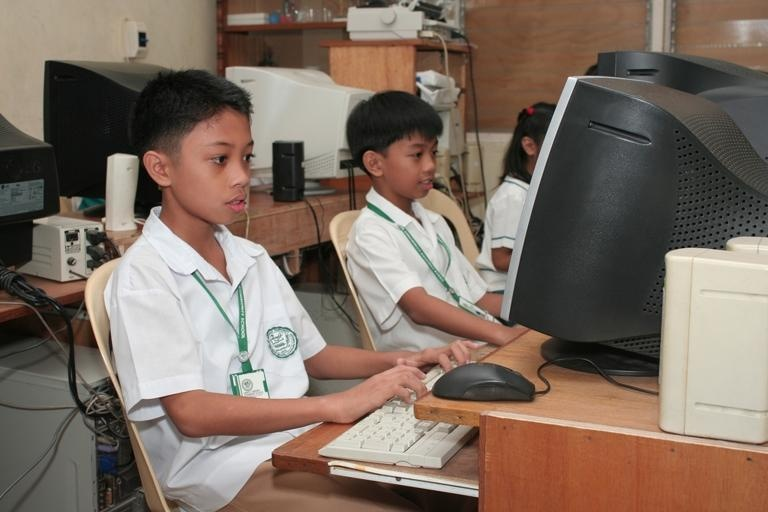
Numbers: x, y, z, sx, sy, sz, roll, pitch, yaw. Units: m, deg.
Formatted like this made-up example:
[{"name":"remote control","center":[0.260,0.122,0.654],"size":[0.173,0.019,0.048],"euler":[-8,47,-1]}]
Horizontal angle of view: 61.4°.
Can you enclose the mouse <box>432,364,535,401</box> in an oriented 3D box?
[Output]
[{"name":"mouse","center":[0.163,0.209,1.040],"size":[0.119,0.037,0.072],"euler":[-2,1,7]}]

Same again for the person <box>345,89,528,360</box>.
[{"name":"person","center":[0.052,-0.121,2.259],"size":[0.757,0.903,0.648],"euler":[-4,2,22]}]

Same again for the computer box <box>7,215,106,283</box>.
[{"name":"computer box","center":[-0.861,-0.019,1.725],"size":[0.207,0.149,0.146],"euler":[11,13,20]}]

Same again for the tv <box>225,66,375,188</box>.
[{"name":"tv","center":[-0.363,-0.575,2.952],"size":[0.533,0.470,0.532],"euler":[0,6,10]}]

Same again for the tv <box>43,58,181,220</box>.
[{"name":"tv","center":[-0.809,-0.332,1.879],"size":[0.497,0.468,0.282],"euler":[-9,19,-44]}]
